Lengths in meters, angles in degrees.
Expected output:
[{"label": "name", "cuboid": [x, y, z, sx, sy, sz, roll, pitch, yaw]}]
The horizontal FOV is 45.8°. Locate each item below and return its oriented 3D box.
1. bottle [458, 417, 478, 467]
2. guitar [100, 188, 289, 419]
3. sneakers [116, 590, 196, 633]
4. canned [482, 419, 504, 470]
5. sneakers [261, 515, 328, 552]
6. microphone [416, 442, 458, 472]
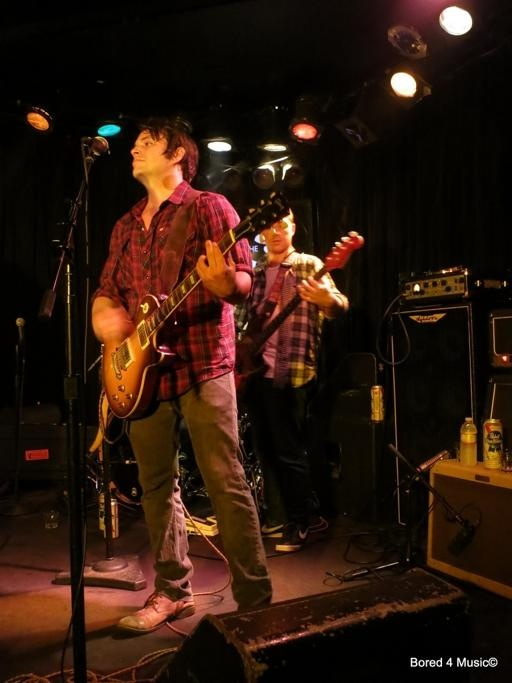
[{"label": "bottle", "cuboid": [0.870, 0.410, 2.497, 0.067, 0.173, 0.085, -4, 1, 16]}, {"label": "guitar", "cuboid": [-0.195, -0.100, 2.135, 0.161, 0.410, 1.125, 8, -38, -37]}, {"label": "sneakers", "cuboid": [-0.319, 0.899, 2.040, 0.295, 0.129, 0.098, 14, -25, -40]}, {"label": "canned", "cuboid": [0.945, 0.402, 2.419, 0.075, 0.173, 0.149, -4, 1, 22]}, {"label": "sneakers", "cuboid": [0.229, 0.956, 3.025, 0.376, 0.151, 0.124, 11, -28, -44]}, {"label": "microphone", "cuboid": [0.819, 0.517, 2.720, 0.272, 0.100, 0.046, -26, 16, -39]}]
